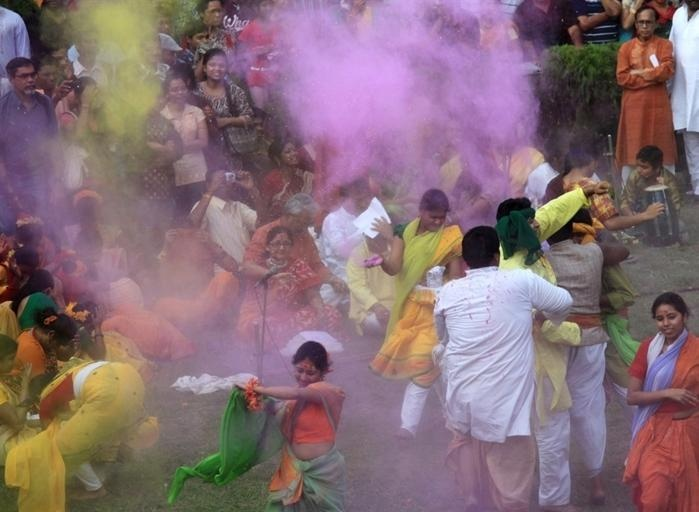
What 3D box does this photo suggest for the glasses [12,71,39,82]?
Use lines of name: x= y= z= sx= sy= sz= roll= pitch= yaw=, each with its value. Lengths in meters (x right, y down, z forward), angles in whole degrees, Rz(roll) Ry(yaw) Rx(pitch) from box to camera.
glasses: x=-2.897 y=-1.616 z=6.779 sx=0.136 sy=0.049 sz=0.139 roll=-6 pitch=0 yaw=-42
